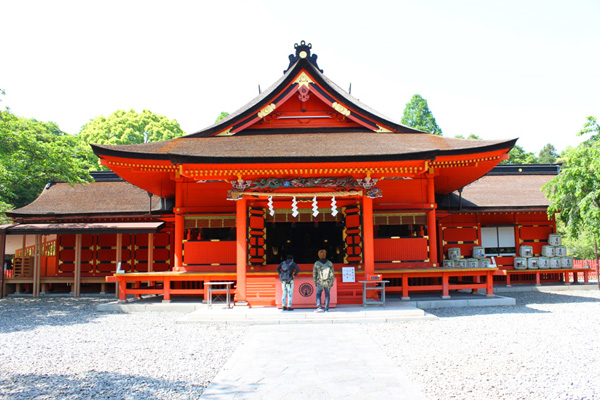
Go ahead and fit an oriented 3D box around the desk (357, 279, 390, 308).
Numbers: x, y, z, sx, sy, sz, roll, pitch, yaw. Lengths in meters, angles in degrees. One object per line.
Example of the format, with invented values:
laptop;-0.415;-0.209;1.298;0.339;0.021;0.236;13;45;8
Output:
desk;2.670;3.489;19.483;1.419;0.776;0.585;0;-21;-1

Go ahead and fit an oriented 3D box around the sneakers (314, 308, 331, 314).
sneakers;0.772;3.883;18.366;0.494;0.147;0.160;12;-19;-34

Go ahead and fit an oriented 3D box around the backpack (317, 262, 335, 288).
backpack;0.882;2.593;18.329;0.568;0.933;0.251;-2;7;-4

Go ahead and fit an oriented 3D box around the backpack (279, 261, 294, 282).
backpack;-0.486;2.528;18.615;0.556;0.757;0.307;-2;7;-3
